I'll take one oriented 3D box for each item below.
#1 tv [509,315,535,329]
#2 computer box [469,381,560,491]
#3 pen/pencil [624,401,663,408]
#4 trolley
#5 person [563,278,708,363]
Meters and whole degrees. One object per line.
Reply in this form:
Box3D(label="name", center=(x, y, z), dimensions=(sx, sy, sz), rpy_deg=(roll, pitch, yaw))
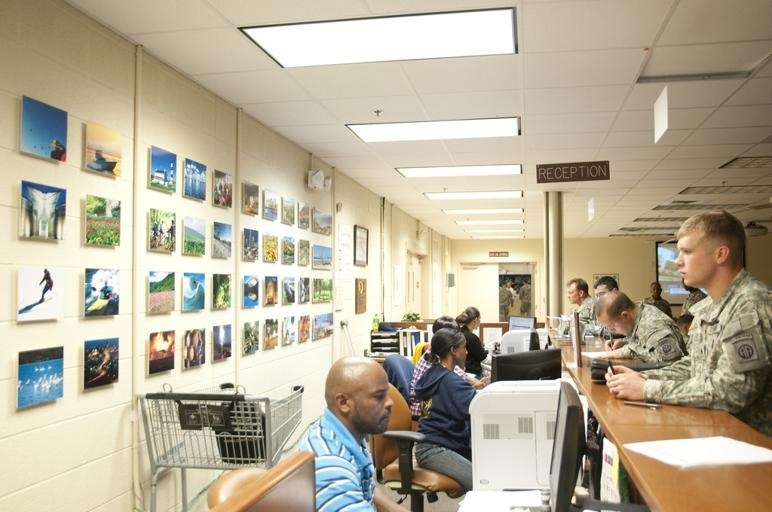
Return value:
Box3D(label="tv", center=(2.291, 1.138, 8.626), dimensions=(0.290, 0.190, 0.578), rpy_deg=(1, -6, -13))
Box3D(label="computer box", center=(0.971, 1.262, 3.383), dimensions=(0.751, 0.617, 0.793), rpy_deg=(-2, -25, 15))
Box3D(label="pen/pencil", center=(1.214, 0.703, 2.410), dimensions=(0.127, 0.030, 0.024), rpy_deg=(-2, 4, 18))
Box3D(label="trolley", center=(-1.251, 1.386, 4.229), dimensions=(0.809, 0.884, 1.272), rpy_deg=(1, -2, 6))
Box3D(label="person", center=(1.912, 0.436, 3.784), dimensions=(0.659, 0.352, 0.951), rpy_deg=(-4, 0, 13))
